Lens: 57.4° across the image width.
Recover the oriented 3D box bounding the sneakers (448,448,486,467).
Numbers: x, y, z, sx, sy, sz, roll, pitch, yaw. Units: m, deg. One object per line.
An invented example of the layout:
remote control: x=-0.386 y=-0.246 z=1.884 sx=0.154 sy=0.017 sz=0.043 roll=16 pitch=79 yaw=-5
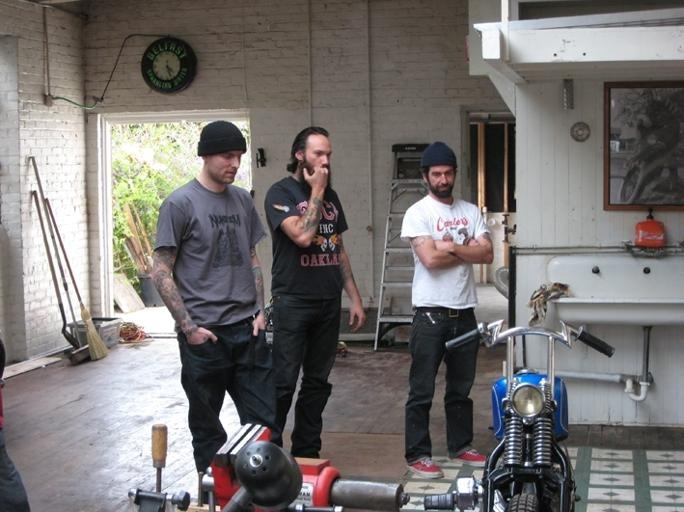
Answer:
sneakers: x=0.799 y=1.300 z=4.006 sx=0.237 sy=0.088 sz=0.097 roll=0 pitch=6 yaw=14

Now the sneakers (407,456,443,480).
sneakers: x=0.516 y=1.322 z=3.870 sx=0.227 sy=0.085 sz=0.096 roll=-3 pitch=-2 yaw=35

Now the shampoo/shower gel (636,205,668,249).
shampoo/shower gel: x=2.152 y=-0.187 z=4.352 sx=0.199 sy=0.281 sz=0.151 roll=0 pitch=5 yaw=24

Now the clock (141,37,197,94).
clock: x=-2.242 y=-2.510 z=8.213 sx=0.724 sy=0.674 sz=0.118 roll=-9 pitch=-4 yaw=17

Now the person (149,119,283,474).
person: x=-0.632 y=0.201 z=3.097 sx=0.549 sy=1.709 sz=0.531 roll=-3 pitch=5 yaw=-7

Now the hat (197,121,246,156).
hat: x=-0.555 y=-0.535 z=2.984 sx=0.200 sy=0.150 sz=0.193 roll=7 pitch=5 yaw=12

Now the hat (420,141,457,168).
hat: x=0.599 y=-0.611 z=3.874 sx=0.184 sy=0.132 sz=0.177 roll=0 pitch=-1 yaw=-4

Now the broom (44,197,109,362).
broom: x=-3.288 y=0.256 z=7.756 sx=0.571 sy=1.945 sz=1.188 roll=-5 pitch=6 yaw=-33
